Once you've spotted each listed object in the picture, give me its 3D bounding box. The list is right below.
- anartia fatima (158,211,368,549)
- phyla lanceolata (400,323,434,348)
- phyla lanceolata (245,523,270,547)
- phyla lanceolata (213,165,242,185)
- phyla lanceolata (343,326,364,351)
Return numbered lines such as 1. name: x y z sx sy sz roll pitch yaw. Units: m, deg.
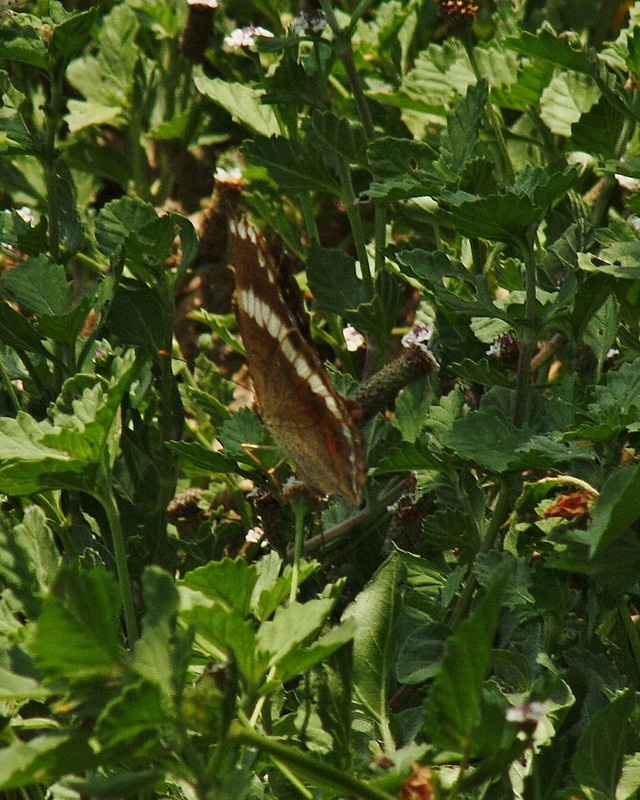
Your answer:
1. anartia fatima: -0.101 -0.022 1.198 0.126 0.277 0.246 -21 -10 -17
2. phyla lanceolata: 0.114 -0.074 1.359 0.034 0.014 0.042 -33 -3 -3
3. phyla lanceolata: -0.075 0.155 1.381 0.032 0.030 0.017 -6 1 39
4. phyla lanceolata: -0.133 -0.346 1.756 0.043 0.014 0.036 7 41 -3
5. phyla lanceolata: 0.045 -0.083 1.538 0.015 0.032 0.032 -42 24 -27
